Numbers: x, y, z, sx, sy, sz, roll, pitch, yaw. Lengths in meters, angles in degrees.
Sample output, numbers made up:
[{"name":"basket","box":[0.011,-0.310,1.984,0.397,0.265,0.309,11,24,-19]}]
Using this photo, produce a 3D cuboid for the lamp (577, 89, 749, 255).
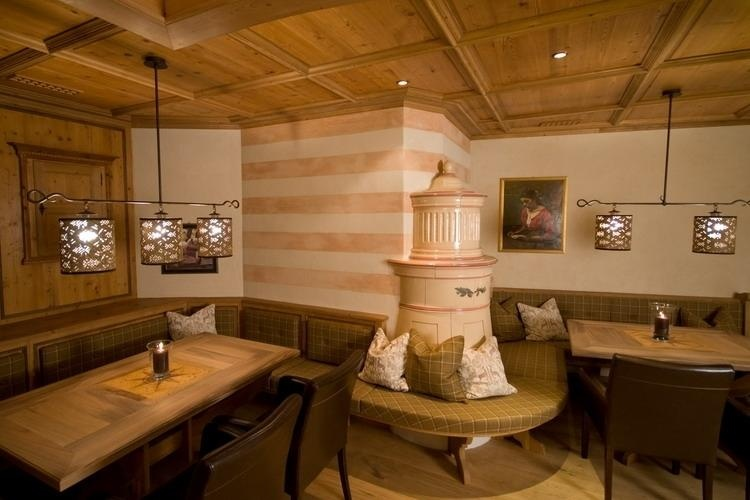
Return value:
[{"name":"lamp","box":[3.254,-0.876,5.379,1.610,1.382,0.344,1,0,34]}]

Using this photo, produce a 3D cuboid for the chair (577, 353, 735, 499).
[{"name":"chair","box":[2.290,1.420,4.401,1.104,1.421,1.324,2,0,21]}]
